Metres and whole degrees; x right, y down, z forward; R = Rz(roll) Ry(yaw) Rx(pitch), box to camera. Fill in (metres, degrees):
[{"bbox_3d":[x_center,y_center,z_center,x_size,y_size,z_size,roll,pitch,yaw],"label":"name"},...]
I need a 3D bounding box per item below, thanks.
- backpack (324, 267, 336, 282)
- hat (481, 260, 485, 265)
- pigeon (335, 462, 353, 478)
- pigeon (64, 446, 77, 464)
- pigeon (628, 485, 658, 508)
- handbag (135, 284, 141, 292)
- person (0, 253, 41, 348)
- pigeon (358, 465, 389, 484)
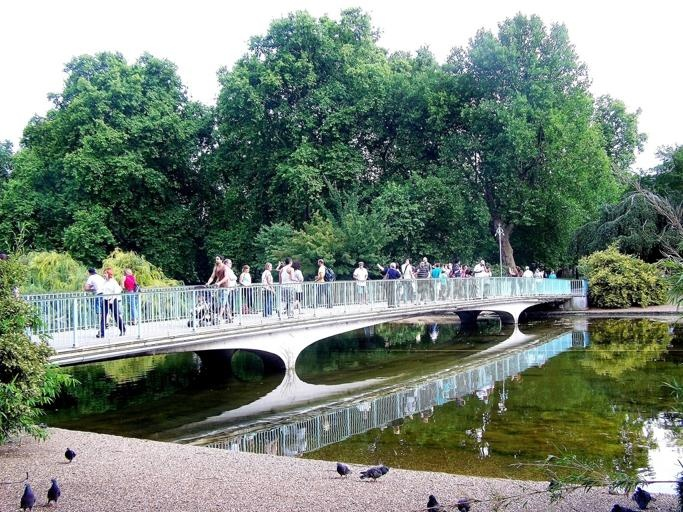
[{"bbox_3d":[-0.449,0.665,27.584,0.491,0.552,0.418,-2,-1,25],"label":"backpack"},{"bbox_3d":[7.349,0.290,38.774,0.157,0.226,0.223,2,-36,10],"label":"hat"},{"bbox_3d":[0.020,4.228,14.837,0.363,0.250,0.322,-5,-4,17],"label":"pigeon"},{"bbox_3d":[-5.556,4.067,15.257,0.181,0.272,0.344,0,-25,-3],"label":"pigeon"},{"bbox_3d":[5.452,4.385,13.605,0.288,0.372,0.148,3,-36,-20],"label":"pigeon"},{"bbox_3d":[-6.281,0.970,22.948,0.138,0.208,0.186,-1,1,-2],"label":"handbag"},{"bbox_3d":[-7.251,1.033,16.806,0.508,2.246,0.759,-22,5,-16],"label":"person"},{"bbox_3d":[0.711,4.274,14.735,0.681,0.317,0.229,5,-2,-19],"label":"pigeon"}]
